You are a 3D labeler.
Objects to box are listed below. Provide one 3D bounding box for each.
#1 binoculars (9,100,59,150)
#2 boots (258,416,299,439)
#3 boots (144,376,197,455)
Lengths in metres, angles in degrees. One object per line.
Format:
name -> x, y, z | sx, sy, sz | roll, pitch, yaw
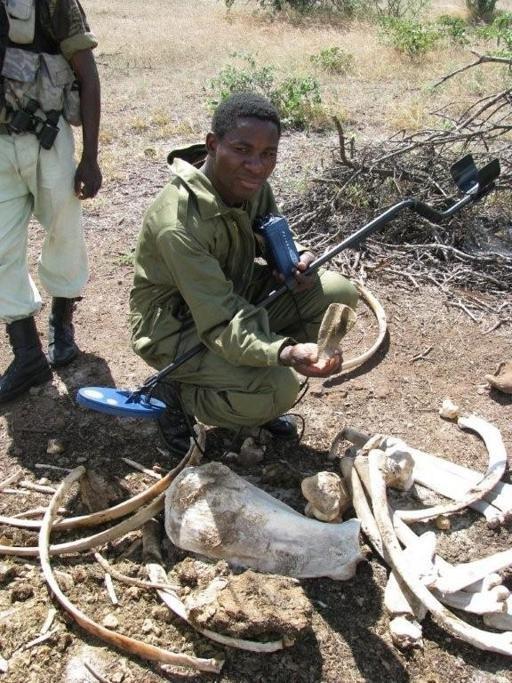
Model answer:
binoculars -> -0.873, -0.850, 2.694 | 0.214, 0.178, 0.090 | -6, 28, -26
boots -> 0.115, 0.358, 2.867 | 0.104, 0.038, 0.120 | -4, 9, -24
boots -> -0.342, 0.302, 2.835 | 0.188, 0.299, 0.077 | -13, -1, 26
